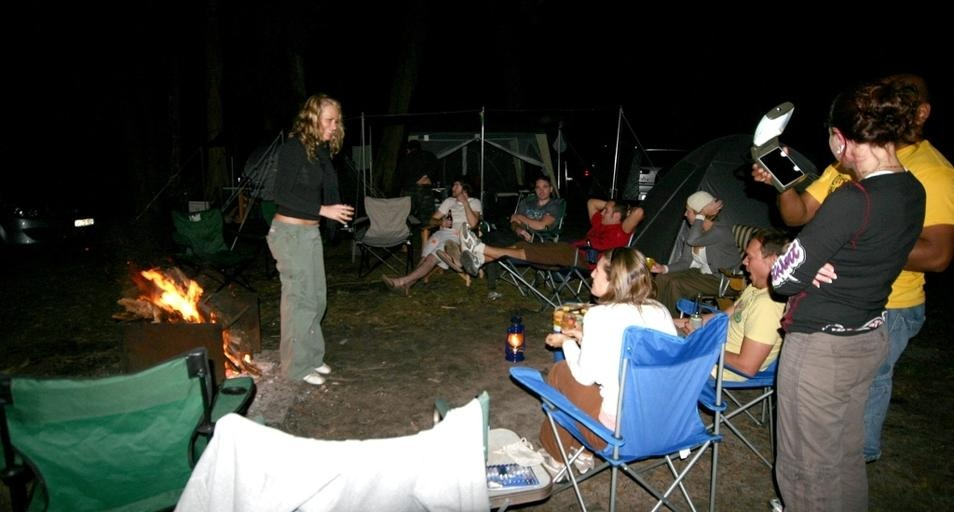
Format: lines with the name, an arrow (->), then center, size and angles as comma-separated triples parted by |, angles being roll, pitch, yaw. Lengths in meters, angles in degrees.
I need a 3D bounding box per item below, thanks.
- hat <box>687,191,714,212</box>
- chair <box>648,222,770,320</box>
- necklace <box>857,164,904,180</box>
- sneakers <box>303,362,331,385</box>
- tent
hat -> 3.769, -0.954, 10.638 | 0.375, 0.151, 0.380 | -30, 33, -11
chair -> 3.894, 0.142, 11.165 | 1.916, 2.047, 1.816 | 1, 4, -14
necklace -> 4.837, -1.004, 7.600 | 0.236, 0.074, 0.289 | -12, 21, 47
sneakers -> -2.390, 1.796, 9.666 | 0.235, 0.122, 0.378 | 20, 12, 11
tent -> 4.754, -1.029, 12.002 | 2.897, 1.456, 2.865 | -10, 14, -26
